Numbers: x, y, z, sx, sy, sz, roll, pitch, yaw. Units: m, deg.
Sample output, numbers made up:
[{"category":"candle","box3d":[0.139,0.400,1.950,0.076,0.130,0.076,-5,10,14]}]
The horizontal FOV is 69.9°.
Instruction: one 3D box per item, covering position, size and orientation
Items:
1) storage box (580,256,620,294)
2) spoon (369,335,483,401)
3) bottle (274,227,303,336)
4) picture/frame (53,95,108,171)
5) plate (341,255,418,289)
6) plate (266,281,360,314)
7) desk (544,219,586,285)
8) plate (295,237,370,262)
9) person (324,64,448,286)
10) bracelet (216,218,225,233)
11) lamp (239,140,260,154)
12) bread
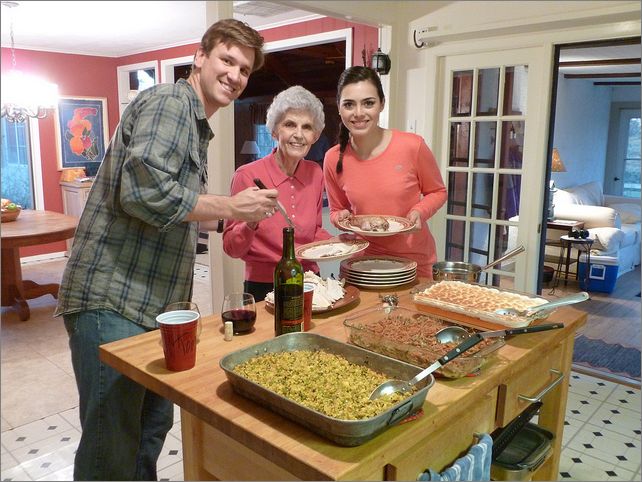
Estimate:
[{"category":"storage box","box3d":[3.757,0.457,6.046,0.612,0.450,0.622,5,2,27]},{"category":"spoon","box3d":[0.305,0.346,1.268,0.382,0.125,0.094,-5,10,-32]},{"category":"bottle","box3d":[-0.104,0.159,1.581,0.121,0.443,0.119,0,20,0]},{"category":"picture/frame","box3d":[-4.064,-1.820,7.704,0.119,1.480,1.070,12,15,37]},{"category":"plate","box3d":[0.269,0.108,2.265,0.334,0.145,0.333,10,13,43]},{"category":"plate","box3d":[-0.065,0.217,1.979,0.327,0.090,0.335,7,10,35]},{"category":"desk","box3d":[3.224,0.159,6.052,0.466,0.775,0.502,11,15,34]},{"category":"plate","box3d":[0.062,0.042,2.115,0.336,0.096,0.198,-2,13,-18]},{"category":"person","box3d":[0.318,-0.330,2.650,0.564,1.364,0.518,-1,7,-14]},{"category":"bracelet","box3d":[-0.446,-0.067,2.036,0.039,0.057,0.054,4,14,-1]},{"category":"lamp","box3d":[-1.394,-1.801,8.888,0.312,0.276,0.305,2,8,11]},{"category":"bread","box3d":[0.596,0.199,1.801,0.463,0.127,0.492,-4,10,-35]}]
